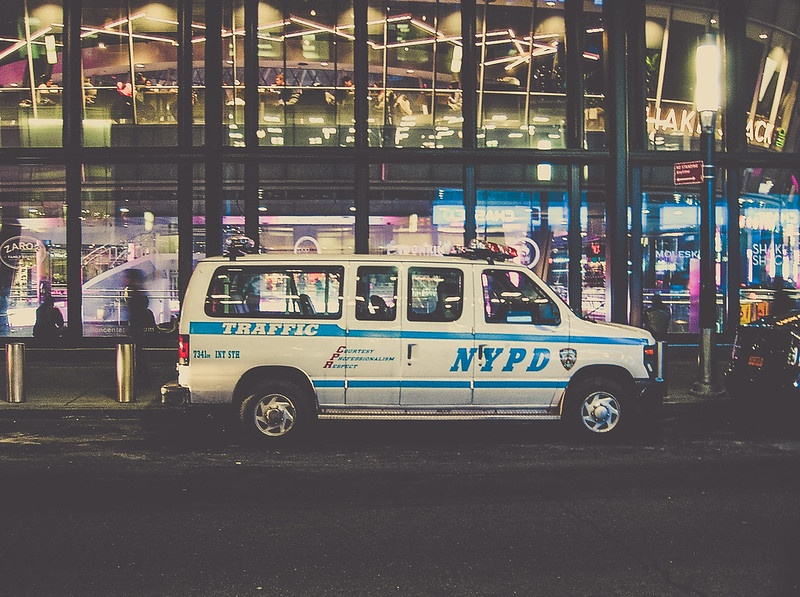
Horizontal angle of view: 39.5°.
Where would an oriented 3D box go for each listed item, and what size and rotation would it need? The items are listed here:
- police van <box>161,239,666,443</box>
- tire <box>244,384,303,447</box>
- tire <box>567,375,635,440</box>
[{"bbox_3d":[0.255,0.640,20.763,8.761,3.550,3.416,0,10,-7],"label":"police van"},{"bbox_3d":[-2.180,1.979,19.095,0.983,1.049,0.368,0,-3,-1],"label":"tire"},{"bbox_3d":[3.456,1.858,19.309,0.921,0.983,0.352,-8,5,1],"label":"tire"}]
